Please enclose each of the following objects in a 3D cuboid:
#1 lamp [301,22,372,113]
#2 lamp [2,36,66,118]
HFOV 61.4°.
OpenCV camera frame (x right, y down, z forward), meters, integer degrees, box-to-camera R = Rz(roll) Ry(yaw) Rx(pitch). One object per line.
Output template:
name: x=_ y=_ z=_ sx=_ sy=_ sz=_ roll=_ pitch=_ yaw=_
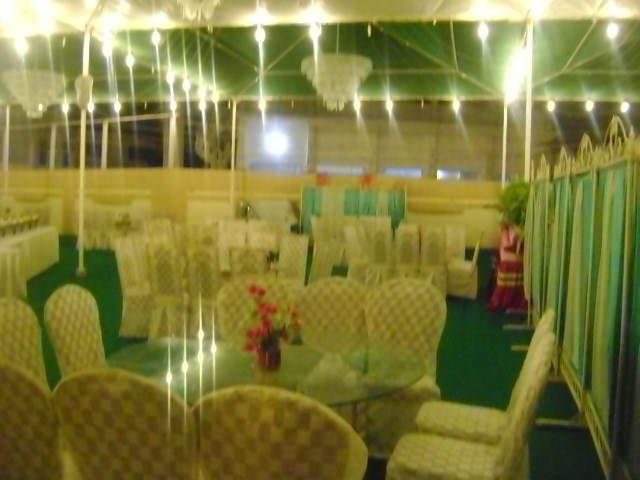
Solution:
lamp: x=0.213 y=-2.169 z=7.318 sx=1.001 sy=0.773 sz=0.767 roll=1 pitch=3 yaw=5
lamp: x=-4.460 y=-2.476 z=8.456 sx=0.834 sy=1.133 sz=0.922 roll=0 pitch=13 yaw=2
